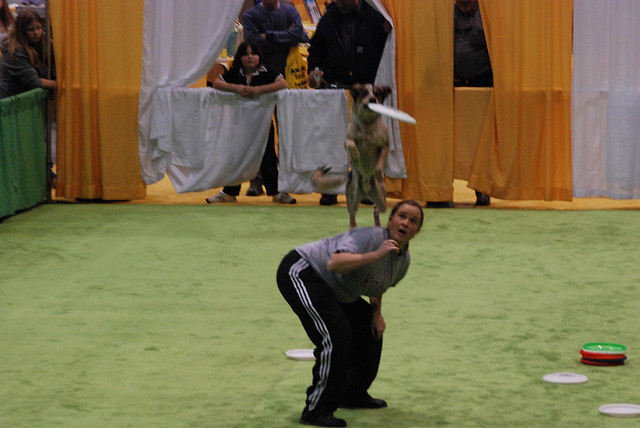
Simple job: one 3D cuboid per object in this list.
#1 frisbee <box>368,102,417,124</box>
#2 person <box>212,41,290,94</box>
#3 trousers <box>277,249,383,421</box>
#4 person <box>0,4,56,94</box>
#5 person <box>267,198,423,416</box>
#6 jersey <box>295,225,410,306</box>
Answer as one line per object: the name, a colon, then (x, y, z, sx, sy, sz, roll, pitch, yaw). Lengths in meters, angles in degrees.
frisbee: (0.610, -0.897, 9.219, 0.353, 0.177, 0.667, 0, 5, 0)
person: (-0.742, -1.937, 12.991, 0.760, 0.422, 1.012, 9, 21, 1)
trousers: (0.081, 0.910, 8.241, 0.808, 1.286, 0.423, 0, 4, 0)
person: (-3.376, -1.913, 12.366, 0.658, 1.237, 0.539, 9, 23, 5)
person: (0.212, 0.676, 8.334, 1.086, 1.792, 0.929, 7, 5, 26)
jersey: (0.283, 0.378, 8.187, 0.622, 0.276, 0.697, 10, -34, 13)
